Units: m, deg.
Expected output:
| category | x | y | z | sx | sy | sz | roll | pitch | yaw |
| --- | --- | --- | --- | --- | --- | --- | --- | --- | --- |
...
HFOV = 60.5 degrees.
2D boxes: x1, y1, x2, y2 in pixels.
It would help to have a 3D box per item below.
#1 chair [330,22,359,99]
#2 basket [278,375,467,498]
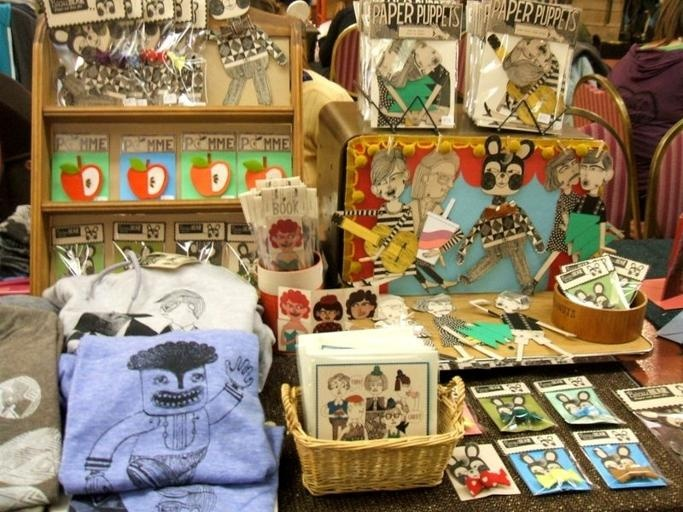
| category | x | y | z | sx | sy | sz | roll | pitch | yaw |
| --- | --- | --- | --- | --- | --- | --- | --- | --- | --- |
| chair | 0.022 | -1.351 | 3.942 | 0.195 | 0.498 | 0.422 | -3 | 15 | -1 |
| basket | 0.096 | 0.413 | 1.311 | 0.336 | 0.178 | 0.272 | -1 | 6 | -6 |
